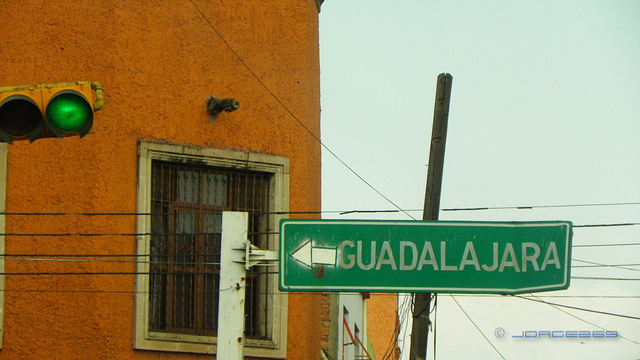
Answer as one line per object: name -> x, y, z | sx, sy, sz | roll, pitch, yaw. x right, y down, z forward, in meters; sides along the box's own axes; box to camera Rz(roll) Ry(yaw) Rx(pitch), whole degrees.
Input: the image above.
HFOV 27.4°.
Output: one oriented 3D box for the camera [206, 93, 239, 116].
camera -> -2.026, -1.579, 27.495 | 0.582, 0.341, 0.365 | -8, -9, 41
